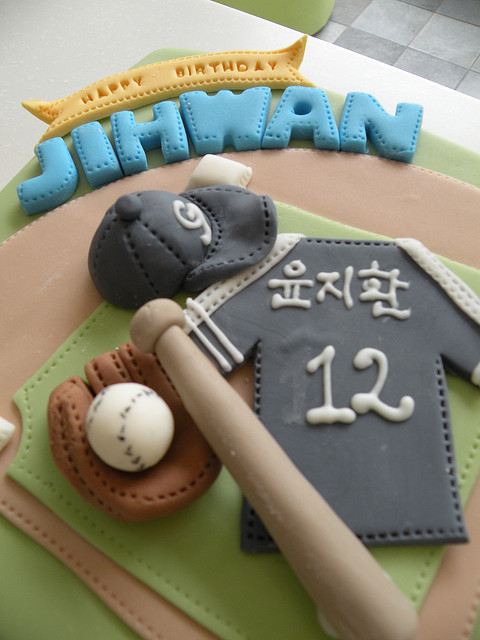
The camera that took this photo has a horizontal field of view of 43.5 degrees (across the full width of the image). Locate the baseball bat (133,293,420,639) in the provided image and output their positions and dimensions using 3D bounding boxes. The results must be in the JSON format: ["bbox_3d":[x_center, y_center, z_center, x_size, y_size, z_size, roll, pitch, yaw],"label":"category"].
[{"bbox_3d":[0.074,0.339,1.288,0.192,0.169,0.851,-45,63,14],"label":"baseball bat"}]

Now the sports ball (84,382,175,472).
[{"bbox_3d":[-0.236,0.225,1.338,0.186,0.140,0.179,0,78,-1],"label":"sports ball"}]
